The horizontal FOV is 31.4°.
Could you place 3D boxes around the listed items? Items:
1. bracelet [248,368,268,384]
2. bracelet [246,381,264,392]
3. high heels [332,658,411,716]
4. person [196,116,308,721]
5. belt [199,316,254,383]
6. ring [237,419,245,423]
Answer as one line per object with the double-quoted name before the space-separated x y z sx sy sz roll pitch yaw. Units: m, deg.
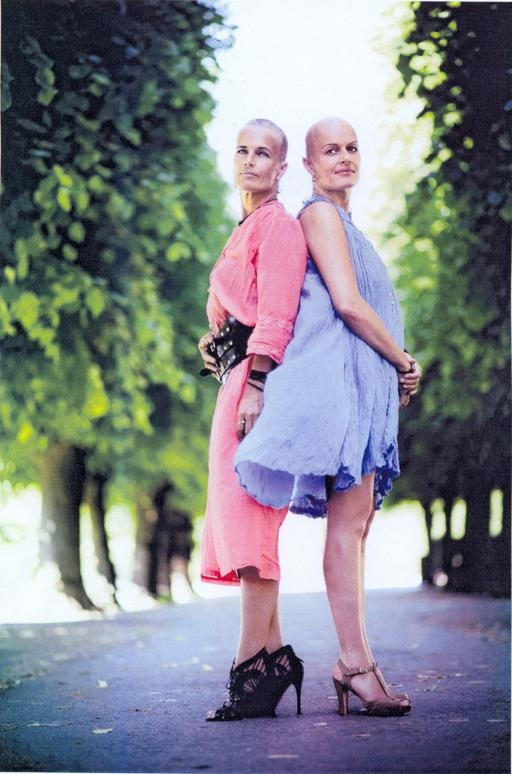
"bracelet" 0.014 -0.031 2.769 0.041 0.035 0.050 8 7 -4
"bracelet" 0.000 0.002 2.801 0.037 0.015 0.031 33 6 25
"high heels" 0.348 0.932 2.829 0.281 0.173 0.133 -1 -3 10
"person" -0.011 0.084 2.887 0.371 1.867 0.346 -1 0 6
"belt" -0.076 -0.104 2.968 0.108 0.206 0.152 17 25 -40
"ring" -0.042 0.107 2.786 0.014 0.012 0.003 -1 -12 3
